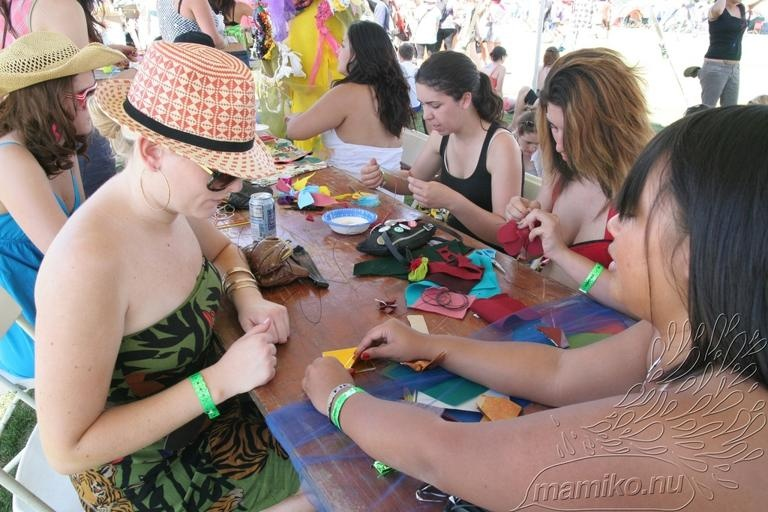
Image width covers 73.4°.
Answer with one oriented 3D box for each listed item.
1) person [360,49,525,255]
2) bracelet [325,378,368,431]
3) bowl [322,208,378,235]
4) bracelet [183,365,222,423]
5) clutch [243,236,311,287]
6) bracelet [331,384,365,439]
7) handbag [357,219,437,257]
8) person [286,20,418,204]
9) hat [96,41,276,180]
[{"bbox_3d":[0.491,-0.390,3.649,0.934,1.910,1.041,-18,24,-28],"label":"person"},{"bbox_3d":[-0.139,0.462,1.706,0.133,0.133,0.141,13,20,20],"label":"bracelet"},{"bbox_3d":[-0.193,-0.202,2.820,0.189,0.054,0.194,0,32,0],"label":"bowl"},{"bbox_3d":[-0.625,0.499,1.822,0.037,0.140,0.137,-25,64,-19],"label":"bracelet"},{"bbox_3d":[-0.500,0.035,2.321,0.238,0.096,0.219,-18,56,-33],"label":"clutch"},{"bbox_3d":[-0.117,0.492,1.658,0.050,0.133,0.113,27,33,30],"label":"bracelet"},{"bbox_3d":[0.077,-0.144,2.559,0.323,0.111,0.196,-19,20,-30],"label":"handbag"},{"bbox_3d":[-0.363,-1.146,4.522,0.957,1.671,0.869,-2,30,-7],"label":"person"},{"bbox_3d":[-0.671,-0.497,1.768,0.535,0.440,0.246,-4,20,-13],"label":"hat"}]
